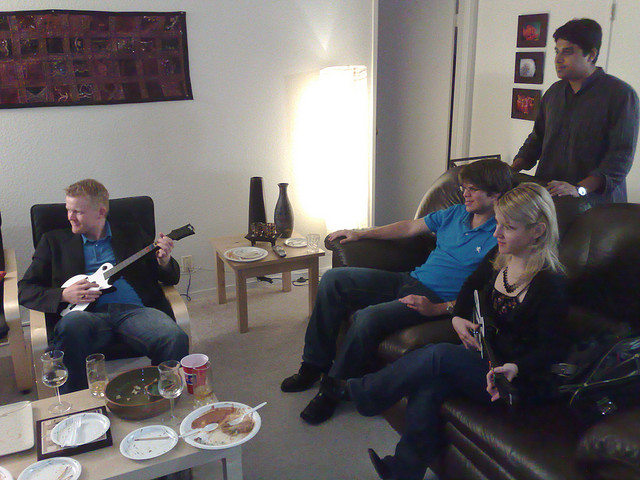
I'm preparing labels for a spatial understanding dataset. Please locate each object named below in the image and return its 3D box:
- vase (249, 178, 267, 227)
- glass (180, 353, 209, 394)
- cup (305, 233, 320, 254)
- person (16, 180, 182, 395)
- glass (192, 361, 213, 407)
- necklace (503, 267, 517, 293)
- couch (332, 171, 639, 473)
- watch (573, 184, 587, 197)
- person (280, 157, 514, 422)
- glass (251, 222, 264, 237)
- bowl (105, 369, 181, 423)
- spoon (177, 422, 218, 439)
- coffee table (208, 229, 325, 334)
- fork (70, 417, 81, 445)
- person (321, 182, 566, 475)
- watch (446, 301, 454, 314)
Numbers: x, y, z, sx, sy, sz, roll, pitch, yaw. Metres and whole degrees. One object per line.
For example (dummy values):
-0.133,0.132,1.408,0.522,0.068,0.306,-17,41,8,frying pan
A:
-0.483,-0.285,3.944,0.135,0.350,0.130,-7,14,-9,vase
-0.538,0.595,2.361,0.143,0.159,0.153,-1,2,-6,glass
-0.052,0.023,3.792,0.118,0.144,0.126,0,8,0,cup
-1.163,0.326,2.988,0.840,1.363,0.855,-10,15,-38,person
-0.515,0.629,2.306,0.108,0.182,0.114,-7,-7,10,glass
0.891,0.191,2.478,0.042,0.088,0.118,-4,14,3,necklace
0.808,0.418,2.511,0.637,0.696,1.356,1,21,-9,couch
1.468,-0.277,2.963,0.048,0.074,0.067,-26,-19,0,watch
0.437,0.252,2.999,1.138,1.516,0.822,6,18,-16,person
-0.459,-0.079,3.871,0.079,0.081,0.091,0,-4,-5,glass
-0.799,0.674,2.292,0.235,0.081,0.238,3,20,-1,bowl
-0.498,0.776,2.140,0.111,0.015,0.022,-15,48,-25,spoon
-0.401,0.129,3.824,0.730,0.567,0.742,-6,16,-23,coffee table
-0.995,0.770,2.124,0.019,0.018,0.143,4,39,-21,fork
0.459,0.325,3.046,1.303,1.768,0.995,-1,11,-3,person
0.699,0.360,2.833,0.035,0.052,0.056,2,42,-11,watch
